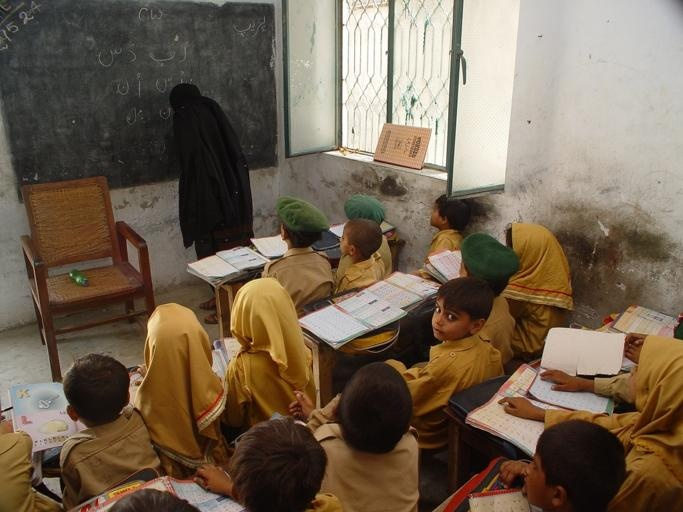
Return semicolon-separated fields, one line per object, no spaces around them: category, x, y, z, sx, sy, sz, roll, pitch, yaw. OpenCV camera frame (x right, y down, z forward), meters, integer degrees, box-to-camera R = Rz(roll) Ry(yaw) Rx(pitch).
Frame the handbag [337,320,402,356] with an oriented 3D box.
handbag;0.155;0.375;2.543;0.191;0.081;0.161;-7;-5;-34

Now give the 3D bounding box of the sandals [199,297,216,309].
sandals;-1.048;0.376;4.113;0.059;0.039;0.154;29;34;33

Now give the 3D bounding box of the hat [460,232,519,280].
hat;0.743;0.002;2.653;0.201;0.086;0.248;-15;35;-22

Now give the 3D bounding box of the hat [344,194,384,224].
hat;0.149;-0.305;3.621;0.258;0.186;0.336;4;18;13

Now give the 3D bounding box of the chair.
chair;-1.700;0.143;3.491;0.855;1.106;0.839;14;24;27

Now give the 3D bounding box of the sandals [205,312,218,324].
sandals;-0.979;0.465;3.949;0.058;0.056;0.128;7;5;15
